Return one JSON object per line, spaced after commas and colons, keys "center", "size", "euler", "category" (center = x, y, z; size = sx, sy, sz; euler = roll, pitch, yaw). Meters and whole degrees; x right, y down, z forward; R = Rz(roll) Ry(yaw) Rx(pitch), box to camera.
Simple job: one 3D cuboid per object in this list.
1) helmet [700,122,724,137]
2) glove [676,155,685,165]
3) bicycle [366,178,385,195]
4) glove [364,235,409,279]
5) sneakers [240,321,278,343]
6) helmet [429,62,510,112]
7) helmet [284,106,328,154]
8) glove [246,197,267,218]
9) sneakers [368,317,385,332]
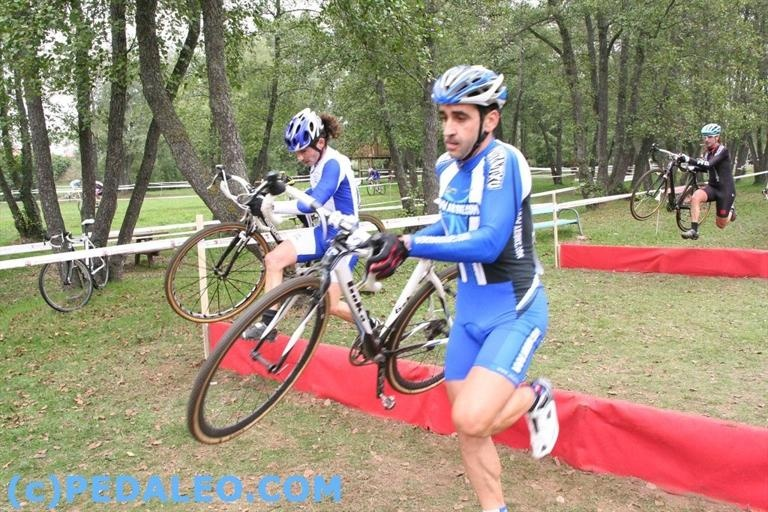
{"center": [7.385, -2.808, 13.040], "size": [0.301, 0.265, 0.430], "euler": [10, 16, 37], "category": "helmet"}
{"center": [6.918, -2.213, 13.428], "size": [0.157, 0.210, 0.077], "euler": [4, 5, 34], "category": "glove"}
{"center": [-0.588, -4.948, 41.598], "size": [0.851, 1.060, 1.733], "euler": [14, 22, 43], "category": "bicycle"}
{"center": [0.004, 0.011, 6.032], "size": [0.472, 0.358, 0.211], "euler": [-40, -3, -8], "category": "glove"}
{"center": [-1.411, 0.853, 6.647], "size": [0.458, 0.195, 0.168], "euler": [5, 33, -41], "category": "sneakers"}
{"center": [0.892, -1.679, 5.824], "size": [0.609, 0.273, 0.430], "euler": [-6, 21, -35], "category": "helmet"}
{"center": [-1.013, -1.702, 7.830], "size": [0.412, 0.295, 0.606], "euler": [4, 41, 29], "category": "helmet"}
{"center": [-1.718, -0.642, 8.018], "size": [0.275, 0.211, 0.263], "euler": [36, 11, -32], "category": "glove"}
{"center": [-0.092, 0.828, 6.997], "size": [0.124, 0.104, 0.197], "euler": [-20, -24, -2], "category": "sneakers"}
